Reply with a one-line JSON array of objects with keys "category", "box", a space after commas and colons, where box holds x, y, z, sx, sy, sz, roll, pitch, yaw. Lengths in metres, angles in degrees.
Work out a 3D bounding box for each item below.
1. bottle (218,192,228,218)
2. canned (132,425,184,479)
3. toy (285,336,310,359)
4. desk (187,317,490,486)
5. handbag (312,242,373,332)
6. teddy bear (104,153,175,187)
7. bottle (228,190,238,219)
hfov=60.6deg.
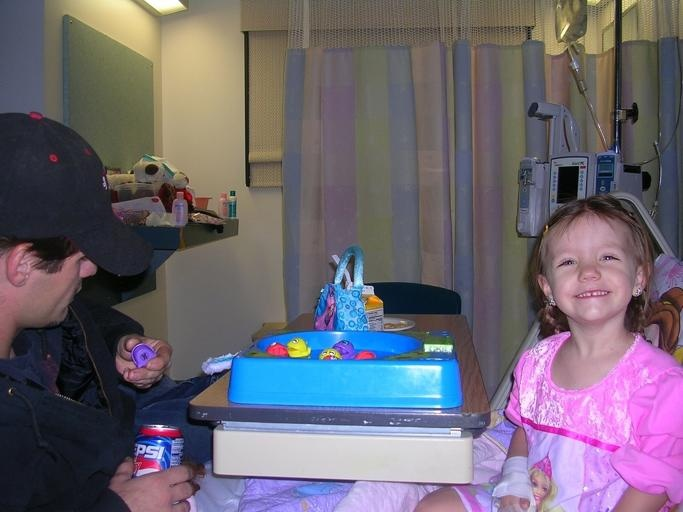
[{"category": "bottle", "box": [-0.653, -0.277, 3.217, 0.047, 0.128, 0.130, -3, 7, -10]}, {"category": "canned", "box": [-0.487, 0.491, 1.525, 0.111, 0.198, 0.114, 6, 30, -23]}, {"category": "toy", "box": [-0.109, 0.236, 1.476, 0.036, 0.044, 0.049, -7, -39, 19]}, {"category": "desk", "box": [0.046, 0.381, 1.595, 0.676, 0.242, 0.712, 0, 8, 12]}, {"category": "handbag", "box": [0.005, 0.107, 2.188, 0.115, 0.343, 0.268, 21, -25, -30]}, {"category": "teddy bear", "box": [-0.930, -0.389, 2.714, 0.232, 0.096, 0.191, -3, 15, -3]}, {"category": "bottle", "box": [-0.613, -0.290, 3.266, 0.037, 0.151, 0.128, -2, 7, -3]}]
